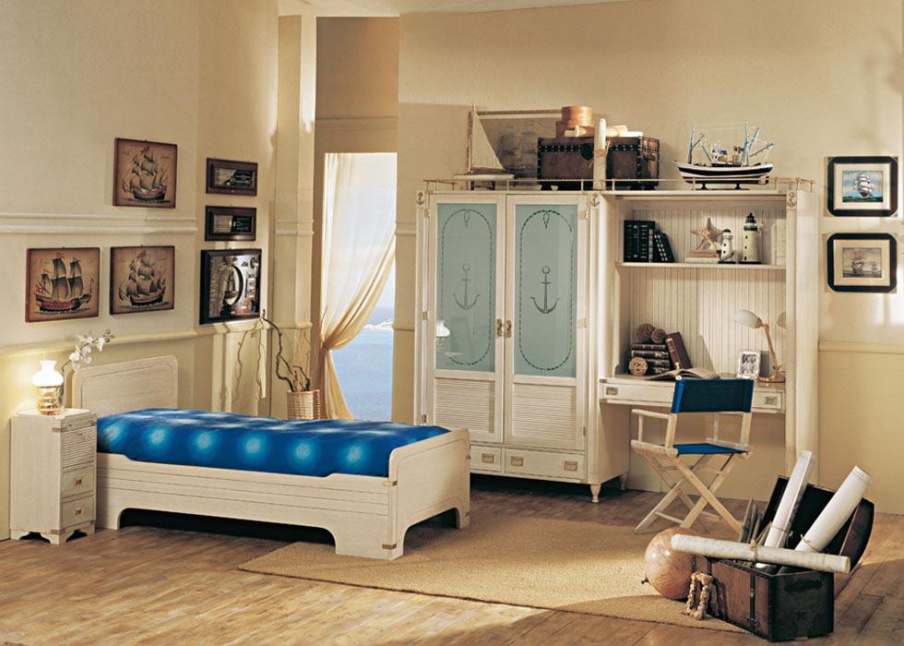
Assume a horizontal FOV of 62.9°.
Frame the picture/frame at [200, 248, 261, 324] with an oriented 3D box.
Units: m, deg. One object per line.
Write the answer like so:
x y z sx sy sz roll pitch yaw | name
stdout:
-2.027 -0.343 6.668 0.049 0.517 0.704 3 3 25 | picture/frame

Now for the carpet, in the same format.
0.380 1.461 4.672 2.535 0.034 1.460 1 3 14 | carpet

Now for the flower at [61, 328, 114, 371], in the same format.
-2.617 0.181 5.289 0.300 0.180 0.132 -36 9 -22 | flower

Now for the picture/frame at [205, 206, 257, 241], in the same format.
-1.994 -0.896 6.676 0.046 0.326 0.603 2 3 29 | picture/frame

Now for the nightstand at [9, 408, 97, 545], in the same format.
-2.681 1.009 4.892 0.518 0.842 0.260 1 3 4 | nightstand

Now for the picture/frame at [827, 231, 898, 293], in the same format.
3.177 -0.475 5.686 0.471 0.472 0.037 1 1 19 | picture/frame

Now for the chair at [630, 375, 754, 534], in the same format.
1.676 0.942 5.234 0.852 1.069 0.835 -1 -6 21 | chair

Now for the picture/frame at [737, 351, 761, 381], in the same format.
2.353 0.335 5.844 0.214 0.289 0.038 1 -19 38 | picture/frame

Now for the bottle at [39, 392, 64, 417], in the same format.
-2.697 0.525 4.946 0.171 0.205 0.168 -2 5 -37 | bottle

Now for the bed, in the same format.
-1.281 0.771 5.331 2.396 1.087 1.253 1 4 17 | bed

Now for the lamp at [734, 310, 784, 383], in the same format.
2.392 0.168 5.726 0.352 0.521 0.512 2 3 24 | lamp

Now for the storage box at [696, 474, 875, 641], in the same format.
1.678 1.227 4.007 0.717 0.812 0.845 2 -1 -19 | storage box

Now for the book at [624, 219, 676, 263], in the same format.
1.572 -0.655 6.021 0.454 0.427 0.330 0 3 7 | book

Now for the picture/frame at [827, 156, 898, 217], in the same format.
3.177 -1.054 5.678 0.482 0.447 0.039 1 5 19 | picture/frame
